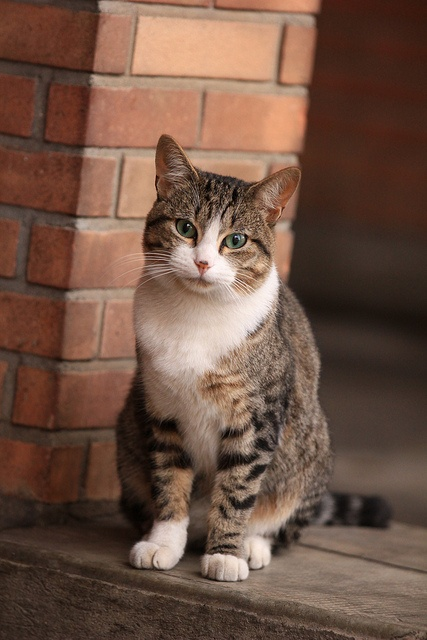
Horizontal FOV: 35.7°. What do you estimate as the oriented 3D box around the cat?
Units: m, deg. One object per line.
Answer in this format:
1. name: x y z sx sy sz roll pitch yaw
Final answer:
1. cat: 0.044 0.114 1.532 0.505 1.008 0.749 12 15 15
